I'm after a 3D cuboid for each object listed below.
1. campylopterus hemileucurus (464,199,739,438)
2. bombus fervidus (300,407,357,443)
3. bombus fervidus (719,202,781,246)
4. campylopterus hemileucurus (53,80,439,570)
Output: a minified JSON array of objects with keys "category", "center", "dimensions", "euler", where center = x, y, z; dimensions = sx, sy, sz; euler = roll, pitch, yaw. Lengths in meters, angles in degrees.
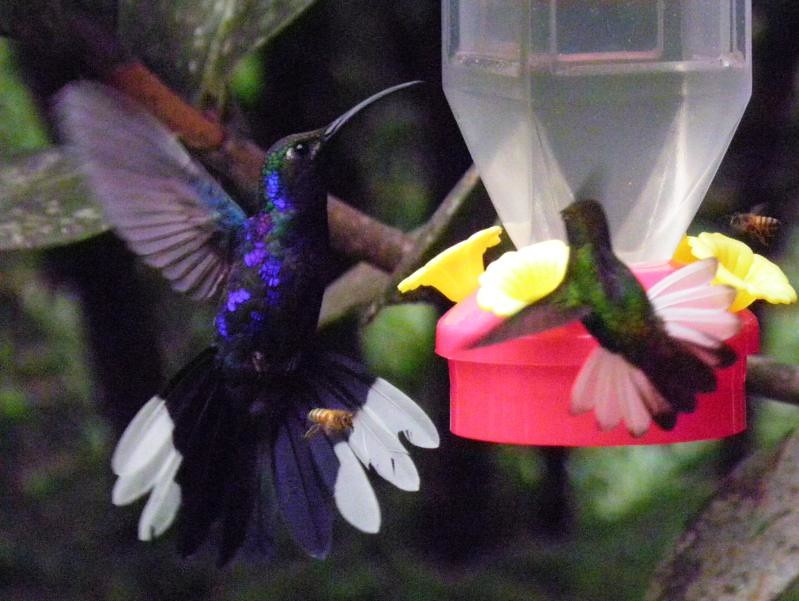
[{"category":"campylopterus hemileucurus","center":[0.305,0.029,1.446],"dimensions":[0.277,0.264,0.148],"euler":[5,25,18]},{"category":"bombus fervidus","center":[-0.131,0.227,1.979],"dimensions":[0.071,0.024,0.058],"euler":[-4,44,44]},{"category":"bombus fervidus","center":[0.621,-0.132,1.908],"dimensions":[0.053,0.078,0.066],"euler":[-6,8,-25]},{"category":"campylopterus hemileucurus","center":[-0.278,0.042,2.043],"dimensions":[0.674,0.872,0.300],"euler":[-3,23,0]}]
